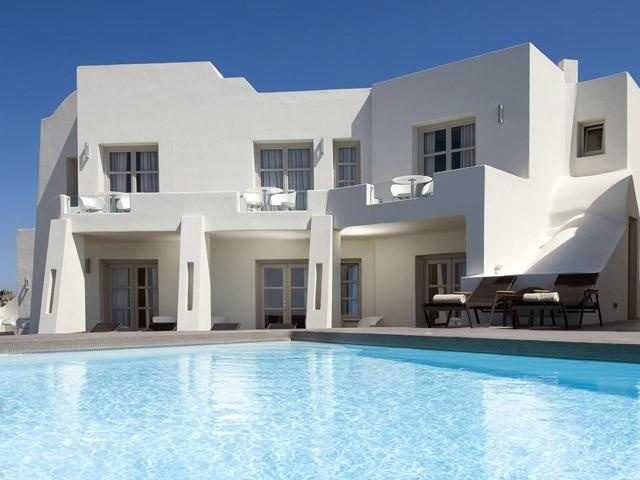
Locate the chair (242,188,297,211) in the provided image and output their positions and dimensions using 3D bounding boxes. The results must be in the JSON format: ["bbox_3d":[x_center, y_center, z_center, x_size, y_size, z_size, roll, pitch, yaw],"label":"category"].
[{"bbox_3d":[-1.426,-1.161,16.940,1.452,0.654,0.420,-2,5,-12],"label":"chair"}]

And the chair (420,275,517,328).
[{"bbox_3d":[3.430,1.269,12.938,1.552,1.107,1.568,8,-11,-40],"label":"chair"}]

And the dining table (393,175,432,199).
[{"bbox_3d":[2.278,-1.427,15.191,0.642,0.441,0.677,-1,-1,-6],"label":"dining table"}]

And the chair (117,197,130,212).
[{"bbox_3d":[-5.552,-1.014,17.087,0.286,0.299,0.523,3,-22,-1],"label":"chair"}]
